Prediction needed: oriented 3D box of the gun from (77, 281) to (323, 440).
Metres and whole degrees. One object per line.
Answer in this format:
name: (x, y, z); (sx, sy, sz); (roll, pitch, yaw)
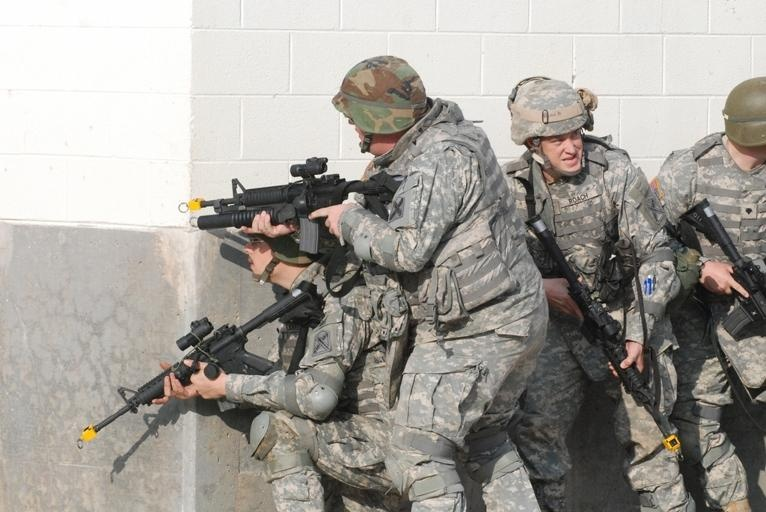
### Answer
gun: (-1.476, 0.826, 9.723); (1.484, 0.565, 0.267); (-37, 12, 1)

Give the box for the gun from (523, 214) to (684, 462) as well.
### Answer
gun: (1.701, 0.581, 9.721); (0.187, 1.819, 0.621); (-26, -5, -11)
